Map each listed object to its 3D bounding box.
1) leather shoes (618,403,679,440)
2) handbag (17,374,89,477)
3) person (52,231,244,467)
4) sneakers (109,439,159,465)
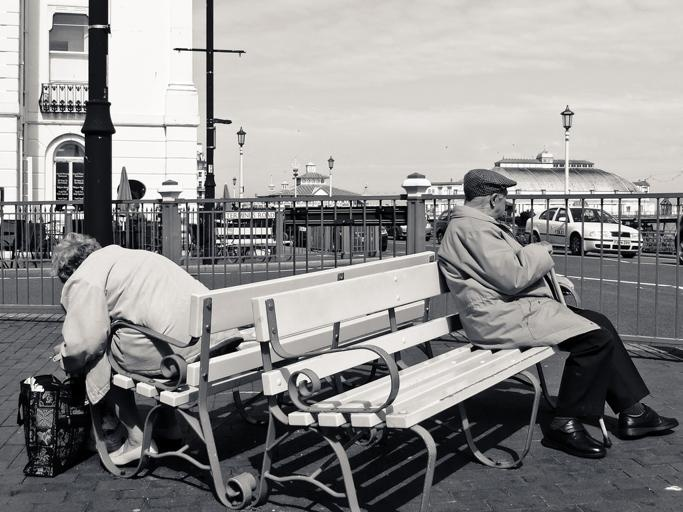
[{"bbox_3d":[2.478,1.384,7.815,0.570,0.293,0.230,-3,1,-14],"label":"leather shoes"},{"bbox_3d":[-2.296,1.330,7.306,0.419,0.709,0.562,0,-4,0],"label":"handbag"},{"bbox_3d":[-1.623,0.760,7.416,1.441,1.679,1.192,-3,6,-14],"label":"person"},{"bbox_3d":[-1.630,1.541,7.229,0.354,0.165,0.197,-6,1,3],"label":"sneakers"}]
